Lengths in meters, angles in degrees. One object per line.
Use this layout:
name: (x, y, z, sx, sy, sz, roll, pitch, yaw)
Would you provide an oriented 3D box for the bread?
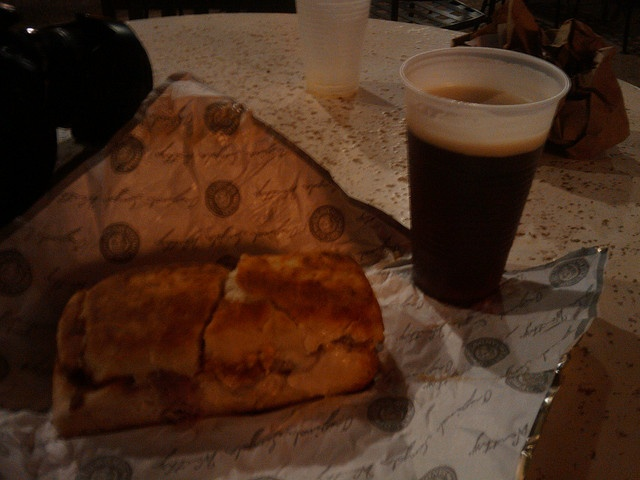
bread: (-0.085, 0.108, 0.566, 0.303, 0.084, 0.159, -4, 32, -6)
